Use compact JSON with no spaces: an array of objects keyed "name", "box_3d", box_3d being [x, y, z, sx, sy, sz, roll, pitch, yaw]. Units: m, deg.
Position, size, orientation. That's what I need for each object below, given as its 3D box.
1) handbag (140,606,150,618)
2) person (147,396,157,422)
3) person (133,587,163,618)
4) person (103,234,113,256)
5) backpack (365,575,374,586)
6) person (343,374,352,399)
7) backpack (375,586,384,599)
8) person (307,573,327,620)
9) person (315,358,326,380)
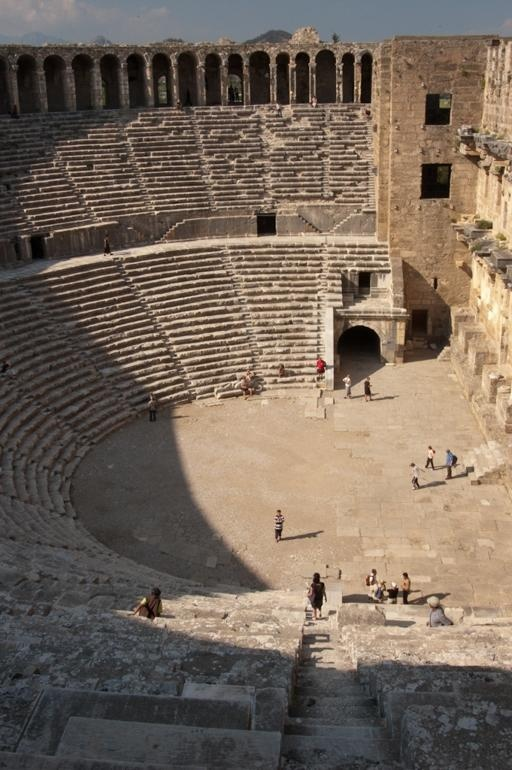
[{"name":"handbag","box_3d":[-1.693,3.435,9.625,0.111,0.117,0.030,23,-22,-30]},{"name":"person","box_3d":[-3.790,0.846,23.282,0.319,0.957,0.886,2,0,-10]},{"name":"person","box_3d":[-1.659,3.422,9.748,0.416,0.454,0.902,2,0,-9]},{"name":"person","box_3d":[-6.895,-6.534,29.482,0.398,0.976,1.849,2,0,-14]},{"name":"backpack","box_3d":[2.601,4.482,14.575,0.229,0.137,0.340,1,7,6]},{"name":"person","box_3d":[3.644,0.104,25.400,0.319,0.894,1.663,2,0,9]},{"name":"backpack","box_3d":[2.741,4.634,14.159,0.182,0.278,0.067,10,42,21]},{"name":"person","box_3d":[1.223,4.303,12.986,0.313,0.918,0.864,2,0,6]},{"name":"person","box_3d":[2.624,-0.650,25.862,0.448,0.893,0.588,2,0,13]}]
